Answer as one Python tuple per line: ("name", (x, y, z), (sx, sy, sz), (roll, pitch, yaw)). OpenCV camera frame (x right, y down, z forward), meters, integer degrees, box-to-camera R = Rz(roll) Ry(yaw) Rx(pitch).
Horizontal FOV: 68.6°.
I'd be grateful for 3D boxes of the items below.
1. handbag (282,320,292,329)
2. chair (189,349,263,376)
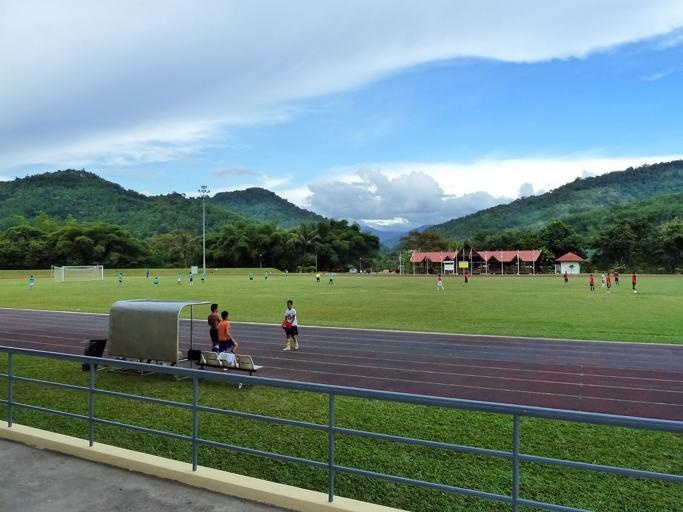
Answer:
("handbag", (-1.853, 2.347, 17.178), (0.337, 0.304, 0.233), (7, 2, -33))
("chair", (-3.241, 2.948, 13.887), (2.240, 0.627, 0.773), (-1, -1, 30))
